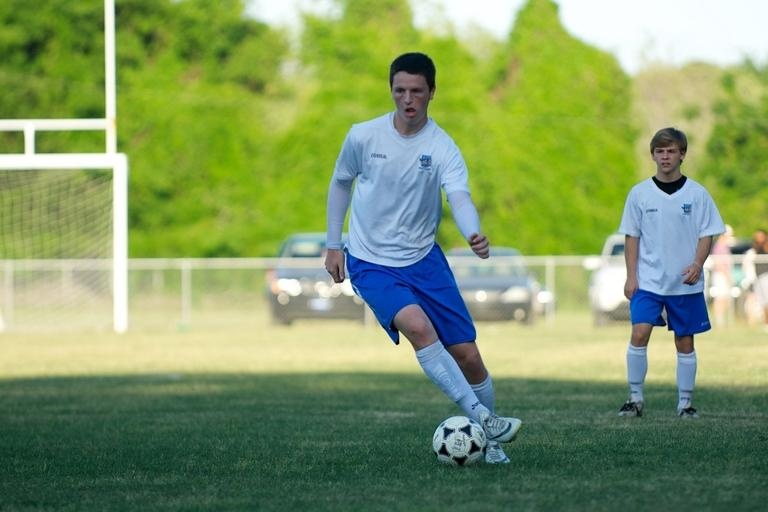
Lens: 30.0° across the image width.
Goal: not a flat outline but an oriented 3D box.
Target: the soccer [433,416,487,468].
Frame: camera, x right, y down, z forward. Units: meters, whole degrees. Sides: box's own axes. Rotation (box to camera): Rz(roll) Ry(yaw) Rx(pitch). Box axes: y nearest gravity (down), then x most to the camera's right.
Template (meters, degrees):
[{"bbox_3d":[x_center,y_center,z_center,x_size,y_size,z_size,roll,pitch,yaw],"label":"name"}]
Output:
[{"bbox_3d":[0.895,2.200,17.254,0.651,0.550,0.591,-2,6,23],"label":"soccer"}]

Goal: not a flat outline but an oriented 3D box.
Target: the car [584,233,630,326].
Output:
[{"bbox_3d":[4.457,0.491,28.589,1.097,1.093,1.756,-2,-3,9],"label":"car"}]

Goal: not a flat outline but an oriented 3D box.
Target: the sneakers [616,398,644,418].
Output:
[{"bbox_3d":[3.234,1.964,18.606,0.258,0.138,0.187,-8,-4,30],"label":"sneakers"}]

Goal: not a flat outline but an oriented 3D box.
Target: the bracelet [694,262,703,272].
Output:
[{"bbox_3d":[4.041,0.135,18.358,0.085,0.118,0.206,4,10,29],"label":"bracelet"}]

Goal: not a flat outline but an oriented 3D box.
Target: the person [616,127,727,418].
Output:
[{"bbox_3d":[3.677,0.188,18.571,1.194,3.653,0.670,0,8,8],"label":"person"}]
